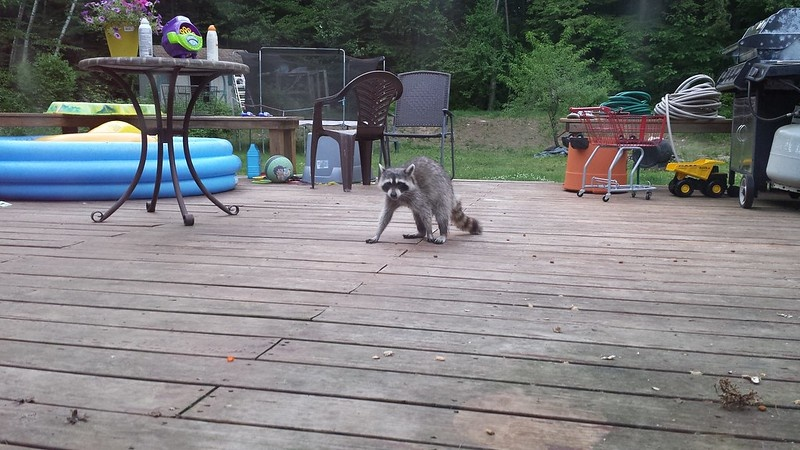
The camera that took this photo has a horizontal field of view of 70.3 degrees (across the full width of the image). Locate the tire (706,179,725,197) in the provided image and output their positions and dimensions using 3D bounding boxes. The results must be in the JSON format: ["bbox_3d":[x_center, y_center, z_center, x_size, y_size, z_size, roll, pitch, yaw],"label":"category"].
[{"bbox_3d":[3.634,-0.416,6.567,0.191,0.178,0.223,-2,-1,14],"label":"tire"}]

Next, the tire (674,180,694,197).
[{"bbox_3d":[3.301,-0.428,6.597,0.220,0.195,0.073,3,1,3],"label":"tire"}]

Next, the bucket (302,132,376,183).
[{"bbox_3d":[-0.958,-0.922,7.775,0.745,0.521,0.736,2,7,0],"label":"bucket"}]

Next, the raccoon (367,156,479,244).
[{"bbox_3d":[0.259,-0.172,4.583,0.436,0.619,1.211,6,3,44],"label":"raccoon"}]

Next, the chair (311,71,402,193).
[{"bbox_3d":[-0.547,-1.138,6.921,1.123,1.423,0.562,1,14,0],"label":"chair"}]

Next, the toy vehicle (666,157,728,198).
[{"bbox_3d":[3.524,-0.558,6.751,0.671,0.402,0.455,2,9,12],"label":"toy vehicle"}]

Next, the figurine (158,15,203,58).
[{"bbox_3d":[-1.923,-1.638,5.021,0.386,0.385,0.350,-7,13,-26],"label":"figurine"}]

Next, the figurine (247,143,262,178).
[{"bbox_3d":[-2.102,-0.912,8.140,0.191,0.489,0.366,-2,14,-14],"label":"figurine"}]

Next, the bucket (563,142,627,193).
[{"bbox_3d":[2.394,-0.716,6.978,0.686,0.538,0.660,0,7,0],"label":"bucket"}]

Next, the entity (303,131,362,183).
[{"bbox_3d":[-1.036,-0.920,7.762,0.757,0.627,0.745,3,7,27],"label":"entity"}]

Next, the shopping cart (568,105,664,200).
[{"bbox_3d":[2.590,-0.833,6.661,1.124,0.963,0.720,-6,3,5],"label":"shopping cart"}]

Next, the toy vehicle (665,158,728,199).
[{"bbox_3d":[3.528,-0.552,6.756,0.667,0.389,0.435,1,7,9],"label":"toy vehicle"}]
